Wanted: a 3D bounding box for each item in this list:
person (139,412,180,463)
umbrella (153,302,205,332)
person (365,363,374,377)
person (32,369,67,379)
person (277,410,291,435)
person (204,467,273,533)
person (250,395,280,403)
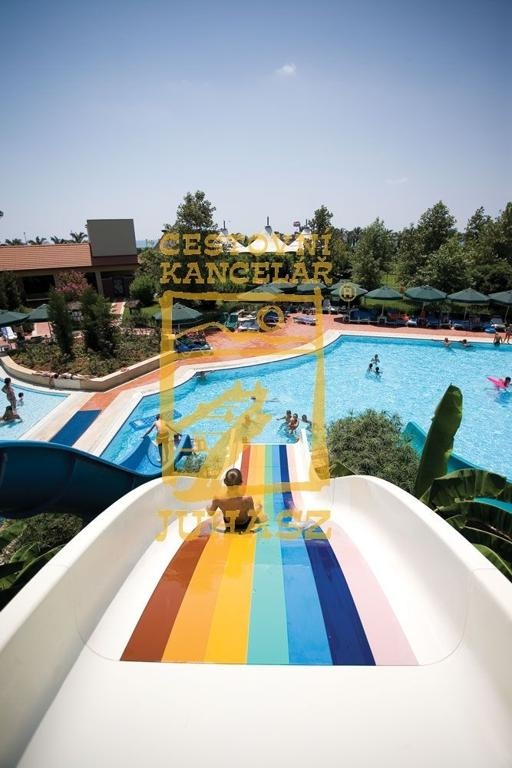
[{"bbox_3d":[-1.991,1.106,9.994,0.733,1.065,0.293,-1,21,-8],"label":"person"},{"bbox_3d":[-3.085,-2.924,20.731,1.166,1.171,4.568,-4,14,-10],"label":"umbrella"},{"bbox_3d":[4.614,-0.568,19.230,0.260,0.861,0.450,4,18,22],"label":"person"},{"bbox_3d":[-7.698,-0.372,17.585,1.676,0.259,0.160,2,-17,10],"label":"person"},{"bbox_3d":[0.854,1.184,14.379,0.485,0.946,0.324,8,31,1],"label":"person"},{"bbox_3d":[-0.261,1.409,5.837,0.646,0.891,0.805,7,9,20],"label":"person"},{"bbox_3d":[0.309,0.518,16.062,1.024,0.217,0.379,-7,15,-21],"label":"person"}]
